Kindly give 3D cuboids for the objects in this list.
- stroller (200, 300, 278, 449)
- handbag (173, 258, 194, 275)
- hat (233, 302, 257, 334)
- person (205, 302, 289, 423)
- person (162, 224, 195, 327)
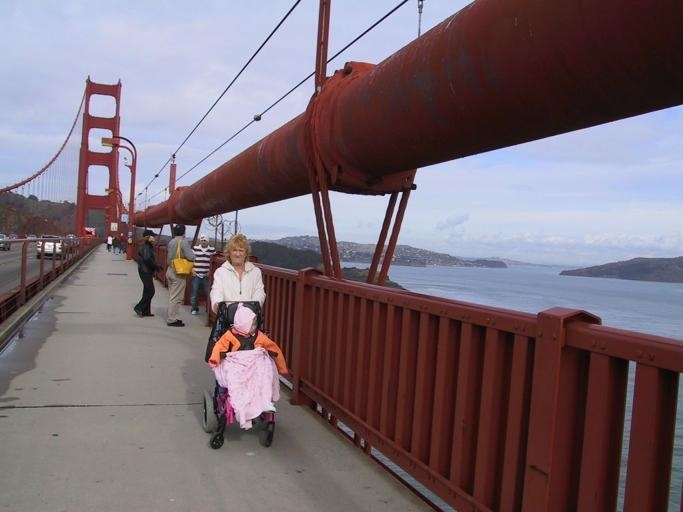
[{"bbox_3d":[-0.877,1.020,4.138,0.747,1.184,0.823,2,-1,6],"label":"stroller"},{"bbox_3d":[-2.972,0.186,8.766,0.259,0.367,0.123,6,-6,-38],"label":"handbag"},{"bbox_3d":[-0.806,0.540,3.914,0.227,0.203,0.174,2,1,33],"label":"hat"},{"bbox_3d":[-0.830,0.916,4.050,0.665,0.644,1.006,4,22,-18],"label":"person"},{"bbox_3d":[-3.211,0.365,9.304,0.480,1.976,1.540,1,5,-20],"label":"person"}]
